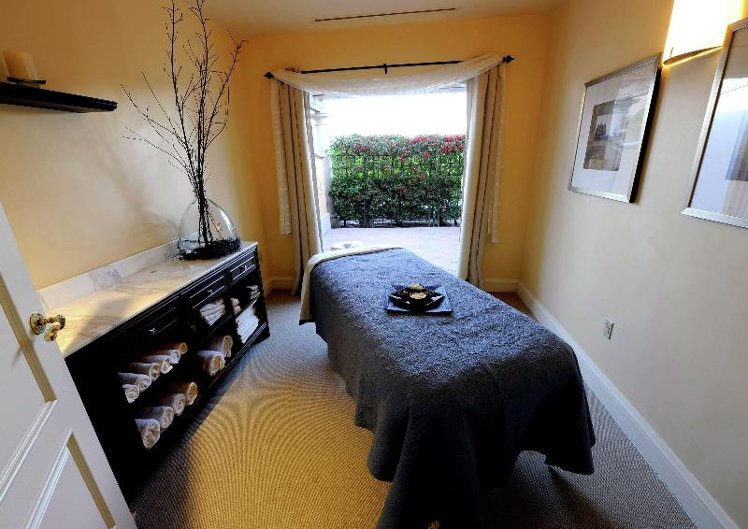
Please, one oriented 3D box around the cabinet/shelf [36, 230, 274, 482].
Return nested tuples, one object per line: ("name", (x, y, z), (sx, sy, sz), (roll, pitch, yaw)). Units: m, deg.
("cabinet/shelf", (-1.300, 0.480, 3.126), (0.485, 0.870, 1.644), (-3, 17, 13))
